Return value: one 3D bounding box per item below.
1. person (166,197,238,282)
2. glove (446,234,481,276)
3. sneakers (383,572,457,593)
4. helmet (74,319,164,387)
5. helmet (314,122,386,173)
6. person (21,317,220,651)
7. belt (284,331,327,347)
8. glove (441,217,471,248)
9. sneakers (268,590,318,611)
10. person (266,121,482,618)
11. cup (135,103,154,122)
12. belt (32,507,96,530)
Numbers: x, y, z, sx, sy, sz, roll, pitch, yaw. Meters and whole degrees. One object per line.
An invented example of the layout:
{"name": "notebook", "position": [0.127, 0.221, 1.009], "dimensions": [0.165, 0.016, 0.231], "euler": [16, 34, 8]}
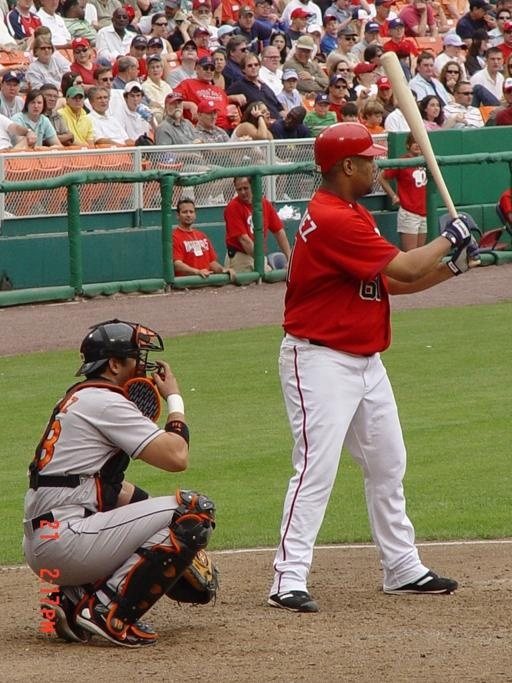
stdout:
{"name": "person", "position": [-0.653, -1.185, 11.750], "dimensions": [0.672, 0.990, 0.744], "euler": [5, 31, 25]}
{"name": "glove", "position": [0.752, -0.295, 3.606], "dimensions": [0.143, 0.068, 0.147], "euler": [-46, -12, 14]}
{"name": "sneakers", "position": [0.618, 0.903, 3.745], "dimensions": [0.259, 0.082, 0.084], "euler": [-3, -5, 7]}
{"name": "helmet", "position": [-0.418, 0.028, 3.318], "dimensions": [0.302, 0.161, 0.183], "euler": [-3, 7, -26]}
{"name": "helmet", "position": [0.331, -0.693, 3.556], "dimensions": [0.248, 0.175, 0.210], "euler": [-2, -1, 2]}
{"name": "person", "position": [-0.451, 0.451, 3.244], "dimensions": [0.599, 0.959, 0.347], "euler": [-3, -1, -13]}
{"name": "belt", "position": [0.186, 0.000, 3.534], "dimensions": [0.083, 0.018, 0.062], "euler": [10, -14, 31]}
{"name": "glove", "position": [0.697, -0.379, 3.568], "dimensions": [0.051, 0.116, 0.092], "euler": [-14, 39, 49]}
{"name": "sneakers", "position": [0.130, 0.908, 3.500], "dimensions": [0.159, 0.049, 0.068], "euler": [-7, -5, 37]}
{"name": "person", "position": [0.380, 0.085, 3.582], "dimensions": [0.752, 1.673, 0.458], "euler": [-3, -1, -7]}
{"name": "cup", "position": [-1.366, -2.817, 12.404], "dimensions": [0.166, 0.251, 0.121], "euler": [-41, -1, 12]}
{"name": "belt", "position": [-0.612, 0.555, 3.151], "dimensions": [0.121, 0.029, 0.086], "euler": [-11, 6, -16]}
